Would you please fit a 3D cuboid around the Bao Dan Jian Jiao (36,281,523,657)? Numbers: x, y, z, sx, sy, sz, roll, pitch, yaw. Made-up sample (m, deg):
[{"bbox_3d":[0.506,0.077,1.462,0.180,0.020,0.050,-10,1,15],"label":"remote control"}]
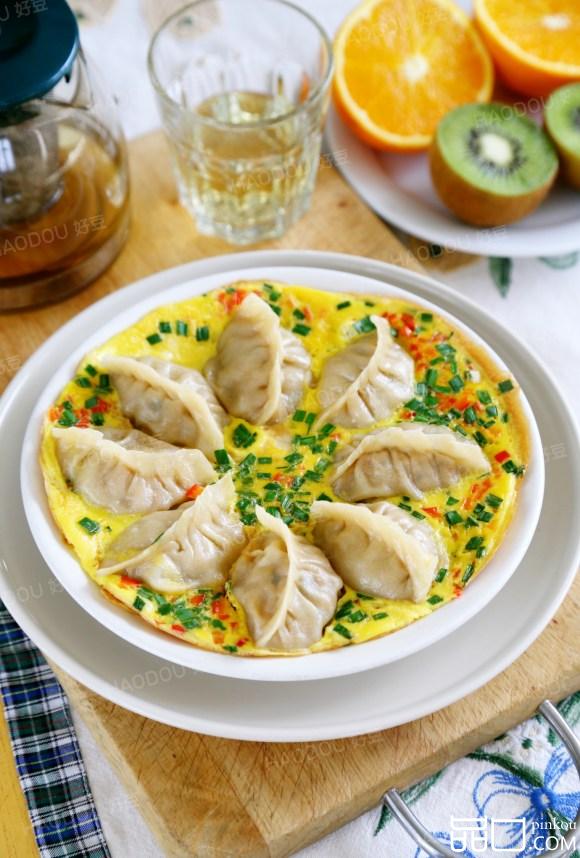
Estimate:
[{"bbox_3d":[-0.022,0.081,1.343,0.608,0.131,0.513,3,63,0],"label":"Bao Dan Jian Jiao"}]
